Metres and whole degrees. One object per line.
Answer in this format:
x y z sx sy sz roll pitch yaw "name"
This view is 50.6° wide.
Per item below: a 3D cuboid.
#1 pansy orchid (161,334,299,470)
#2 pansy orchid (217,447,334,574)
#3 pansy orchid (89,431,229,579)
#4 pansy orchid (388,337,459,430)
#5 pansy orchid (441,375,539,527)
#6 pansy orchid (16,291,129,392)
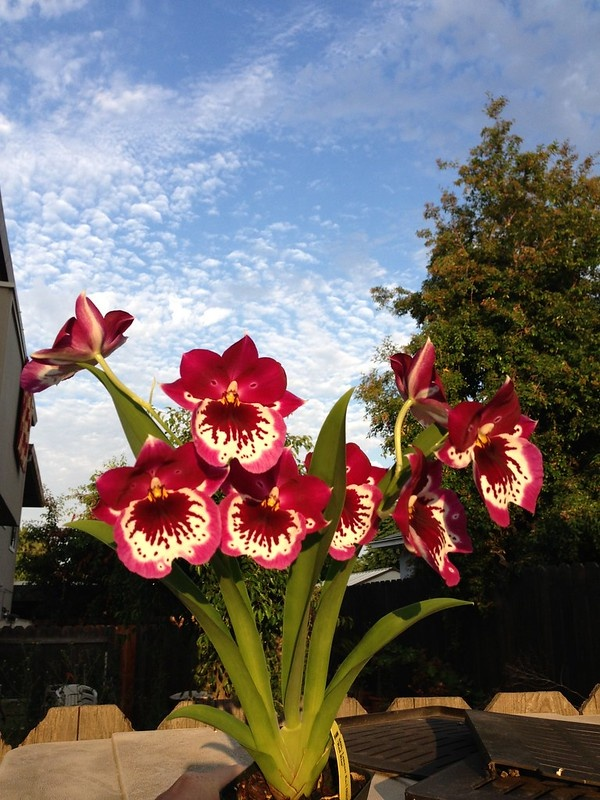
-0.097 0.011 0.953 0.216 0.201 0.062 3 -8 -21 "pansy orchid"
-0.040 0.157 0.943 0.138 0.164 0.085 6 -8 -33 "pansy orchid"
-0.199 0.150 0.908 0.174 0.189 0.069 3 -7 -5 "pansy orchid"
0.202 -0.026 1.131 0.134 0.064 0.137 21 -4 39 "pansy orchid"
0.291 0.081 0.985 0.152 0.230 0.279 0 -7 21 "pansy orchid"
-0.398 -0.097 1.143 0.177 0.165 0.139 5 -7 -25 "pansy orchid"
